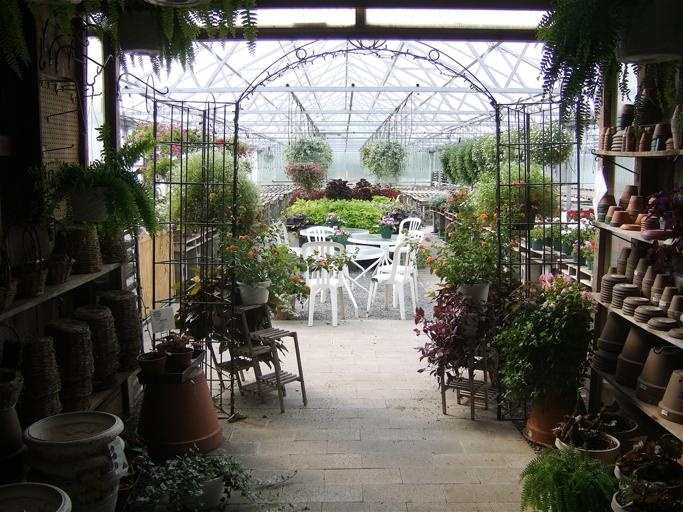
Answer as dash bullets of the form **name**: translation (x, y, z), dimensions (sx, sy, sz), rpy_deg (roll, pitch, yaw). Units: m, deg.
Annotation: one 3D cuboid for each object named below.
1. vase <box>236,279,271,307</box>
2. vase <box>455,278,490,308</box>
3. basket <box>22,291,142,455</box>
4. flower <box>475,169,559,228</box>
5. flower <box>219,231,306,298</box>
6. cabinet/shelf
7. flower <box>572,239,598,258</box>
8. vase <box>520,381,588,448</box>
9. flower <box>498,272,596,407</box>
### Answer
- **vase**: translation (-0.732, 0.299, 4.184), dimensions (0.236, 0.134, 0.228), rpy_deg (-1, 2, -9)
- **vase**: translation (1.080, 0.308, 4.072), dimensions (0.207, 0.155, 0.210), rpy_deg (0, 6, -4)
- **basket**: translation (-1.562, 0.654, 3.343), dimensions (0.607, 0.757, 0.799), rpy_deg (1, 2, 7)
- **flower**: translation (1.734, -0.562, 4.956), dimensions (0.779, 0.517, 0.703), rpy_deg (-5, 9, -26)
- **flower**: translation (-0.609, 0.160, 4.646), dimensions (0.503, 0.443, 0.645), rpy_deg (9, -3, -27)
- **cabinet/shelf**: translation (-0.844, 0.847, 4.326), dimensions (1.067, 0.903, 0.386), rpy_deg (-2, 3, 36)
- **flower**: translation (2.371, -0.071, 4.896), dimensions (0.223, 0.148, 0.194), rpy_deg (-1, 2, -9)
- **vase**: translation (1.480, 1.106, 3.505), dimensions (0.319, 0.402, 0.313), rpy_deg (2, -8, 6)
- **flower**: translation (1.496, 0.517, 3.460), dimensions (0.545, 0.617, 0.406), rpy_deg (12, -1, 1)
